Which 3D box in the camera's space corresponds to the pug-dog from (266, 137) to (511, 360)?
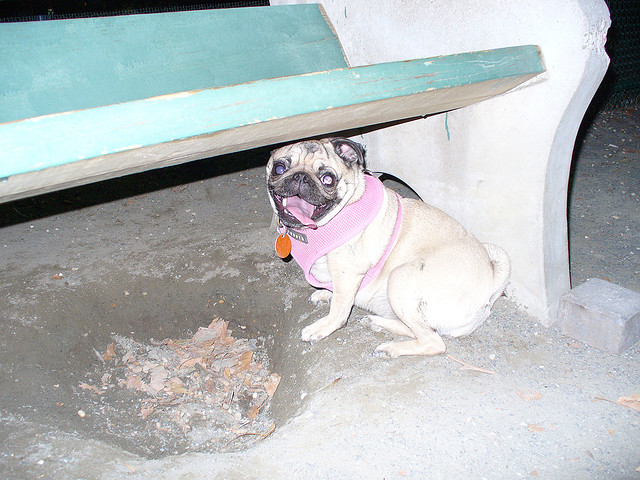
[{"bbox_3d":[0.448,-0.019,3.644,1.627,1.329,1.053,7,11,20],"label":"pug-dog"}]
